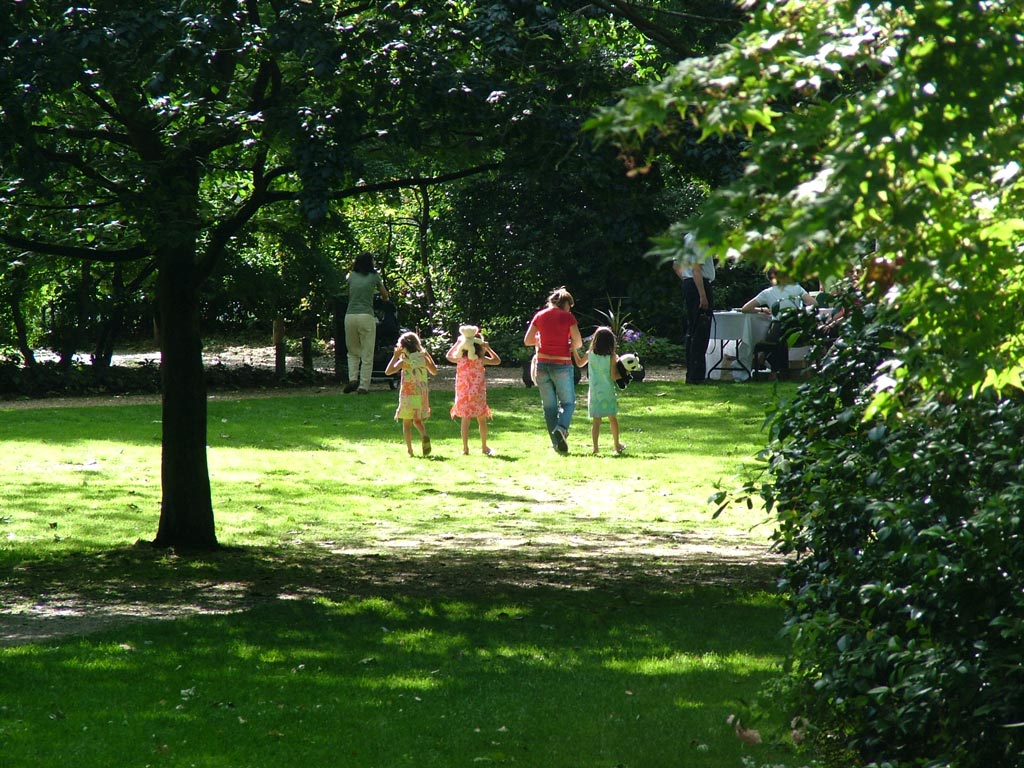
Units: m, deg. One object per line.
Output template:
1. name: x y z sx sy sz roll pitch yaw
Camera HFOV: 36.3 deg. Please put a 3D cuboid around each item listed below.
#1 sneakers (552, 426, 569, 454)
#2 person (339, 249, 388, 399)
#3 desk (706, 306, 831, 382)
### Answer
1. sneakers: 0.463 0.585 15.909 0.129 0.284 0.127 -19 9 26
2. person: -2.054 -0.848 21.597 0.520 1.915 1.392 1 -1 -6
3. desk: 3.549 -0.506 22.006 2.138 1.049 1.181 -5 10 -36
